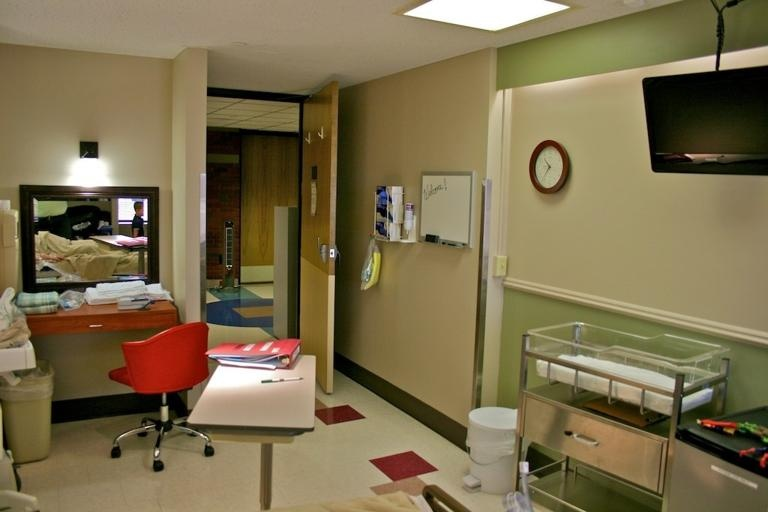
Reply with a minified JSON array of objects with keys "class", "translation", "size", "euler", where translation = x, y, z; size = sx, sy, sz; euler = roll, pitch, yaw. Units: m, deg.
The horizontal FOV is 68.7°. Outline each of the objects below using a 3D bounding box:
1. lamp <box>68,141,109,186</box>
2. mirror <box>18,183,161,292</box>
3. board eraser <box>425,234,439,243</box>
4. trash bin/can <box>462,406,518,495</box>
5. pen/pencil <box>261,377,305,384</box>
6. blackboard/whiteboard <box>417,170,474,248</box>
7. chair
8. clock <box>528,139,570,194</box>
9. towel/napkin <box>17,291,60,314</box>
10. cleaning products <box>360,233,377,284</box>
[{"class":"lamp","translation":[-2.792,-0.869,5.314],"size":[0.366,0.503,0.365],"euler":[2,7,-7]},{"class":"mirror","translation":[-2.802,-0.161,5.409],"size":[1.211,1.030,0.078],"euler":[-3,11,-39]},{"class":"board eraser","translation":[0.440,-0.161,5.185],"size":[0.080,0.104,0.084],"euler":[2,1,31]},{"class":"trash bin/can","translation":[0.872,1.587,4.539],"size":[0.586,0.568,0.406],"euler":[-4,9,-41]},{"class":"pen/pencil","translation":[-0.621,0.754,3.423],"size":[0.217,0.023,0.023],"euler":[0,1,-12]},{"class":"blackboard/whiteboard","translation":[0.546,-0.410,5.078],"size":[0.069,0.684,0.717],"euler":[-1,7,-33]},{"class":"chair","translation":[-1.929,1.123,4.921],"size":[0.874,1.185,0.791],"euler":[6,10,14]},{"class":"clock","translation":[1.305,-0.702,4.401],"size":[0.056,0.500,0.431],"euler":[0,-3,-36]},{"class":"towel/napkin","translation":[-3.050,0.407,4.935],"size":[0.328,0.136,0.303],"euler":[-6,15,-30]},{"class":"cleaning products","translation":[-0.161,0.068,6.015],"size":[0.161,0.582,0.284],"euler":[2,13,-2]}]
